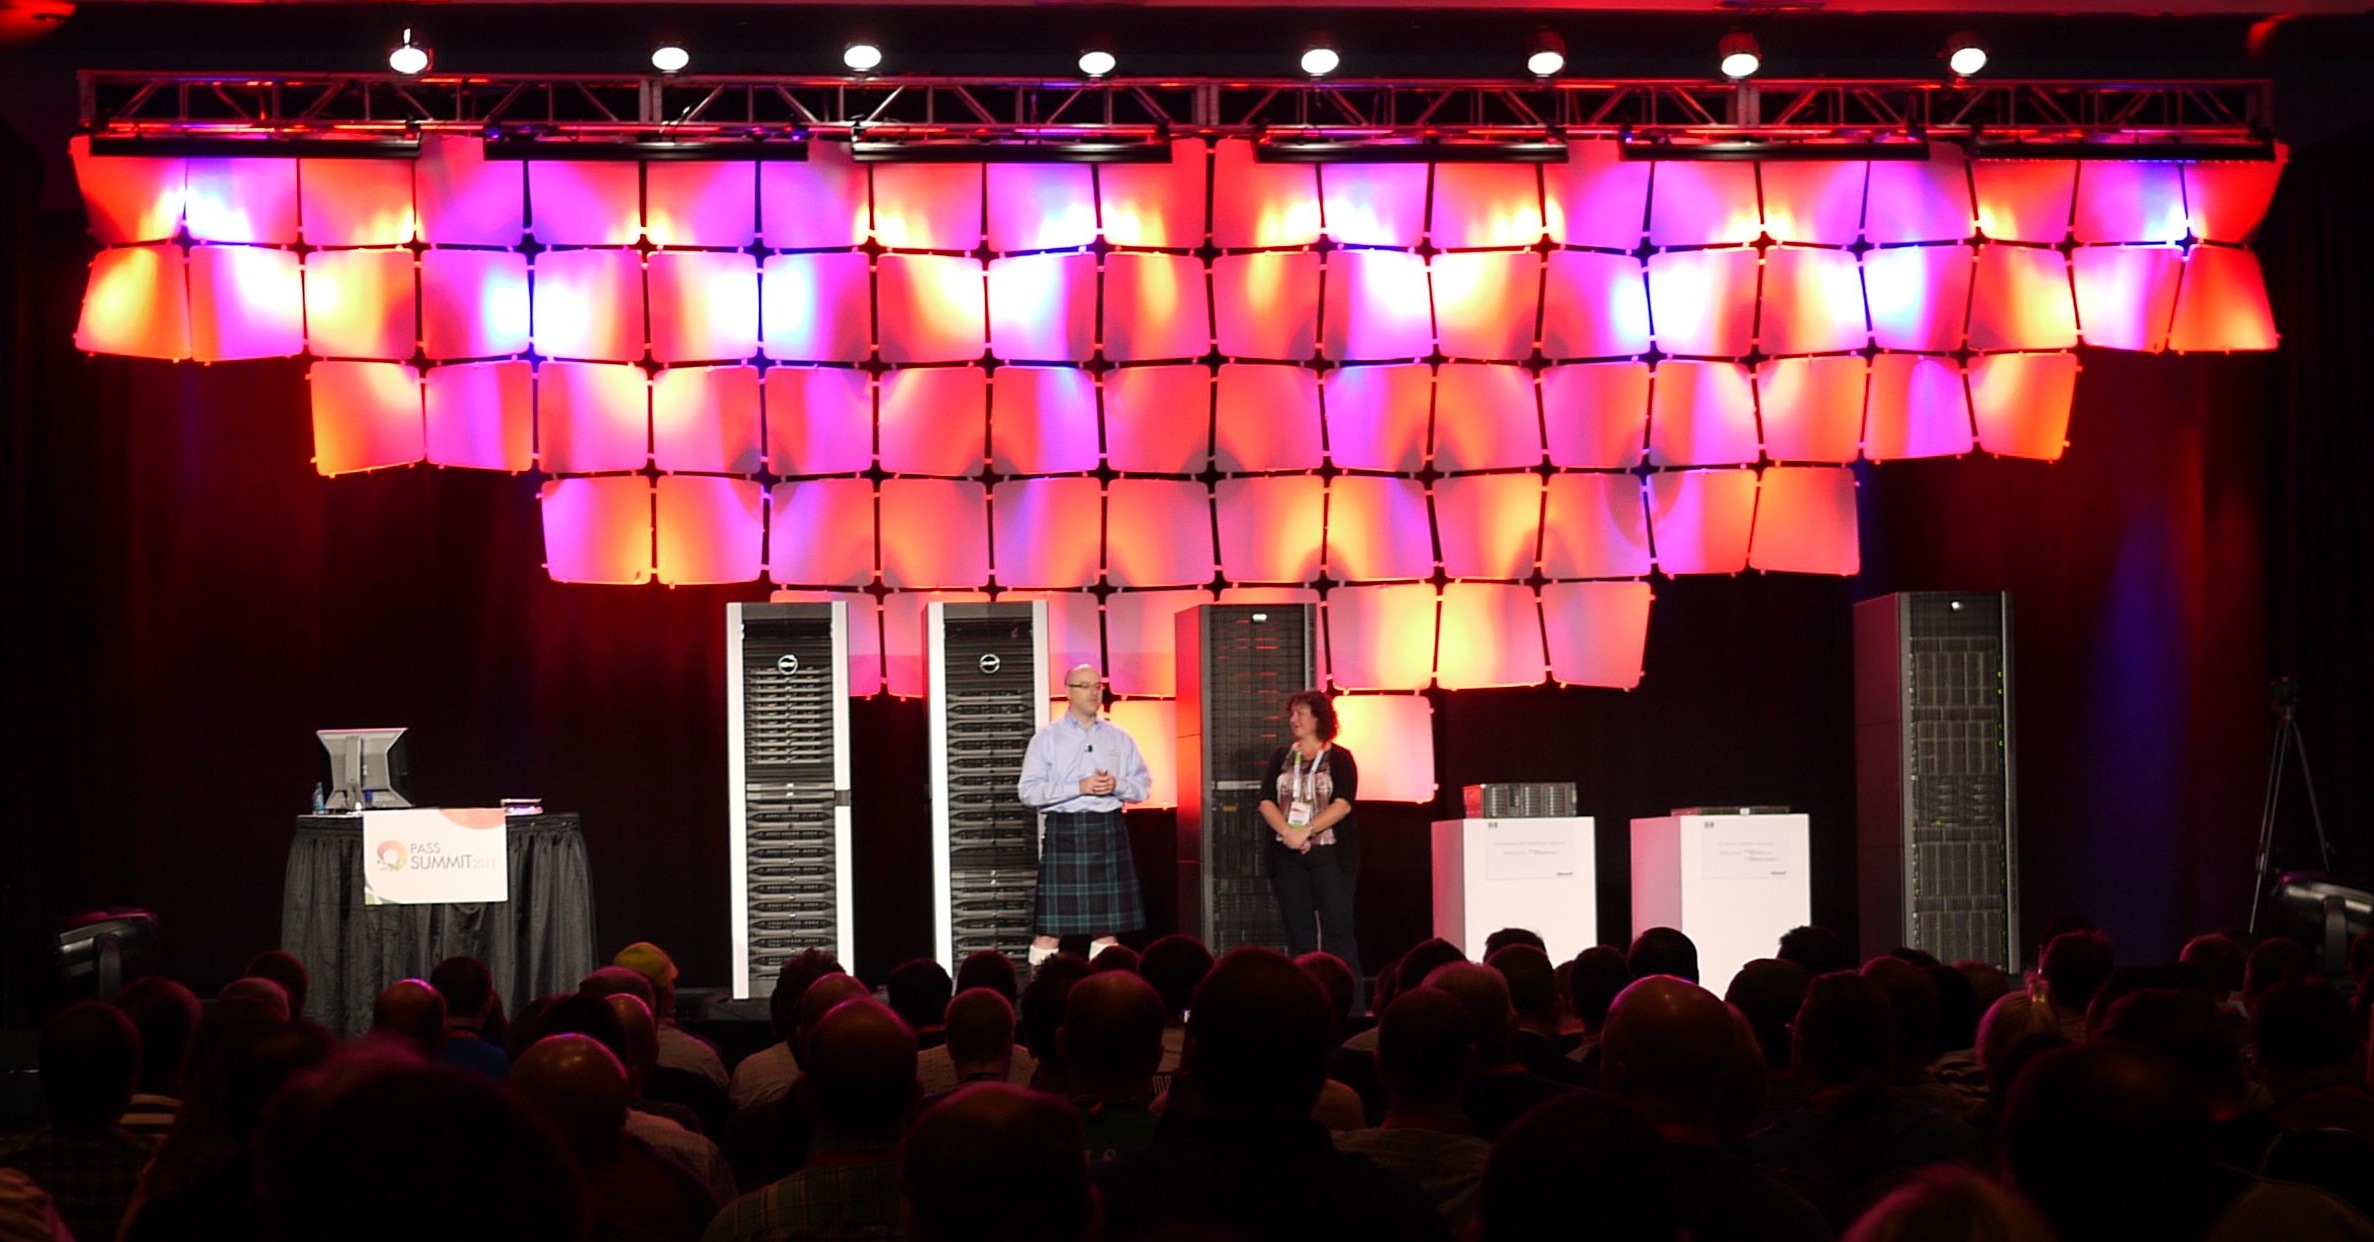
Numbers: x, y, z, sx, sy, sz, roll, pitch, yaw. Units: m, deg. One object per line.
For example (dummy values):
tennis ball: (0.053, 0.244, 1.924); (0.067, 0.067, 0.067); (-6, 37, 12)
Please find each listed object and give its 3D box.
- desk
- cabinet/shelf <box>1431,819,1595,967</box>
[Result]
desk: (-5.226, 1.922, 15.148); (2.150, 1.476, 0.669); (3, 20, -8)
cabinet/shelf: (2.375, 1.871, 16.364); (1.559, 1.242, 1.034); (0, -6, -4)
